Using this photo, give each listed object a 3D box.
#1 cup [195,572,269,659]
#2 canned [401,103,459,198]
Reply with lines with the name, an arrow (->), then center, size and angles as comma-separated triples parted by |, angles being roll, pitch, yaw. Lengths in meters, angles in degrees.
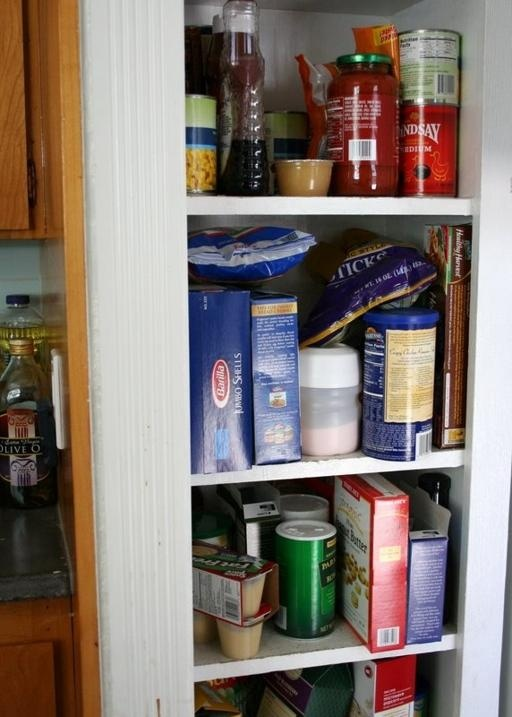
cup -> -0.032, 0.335, 0.900 | 0.067, 0.098, 0.115 | 2, -6, -37
canned -> 0.234, -0.288, 0.935 | 0.085, 0.122, 0.080 | -6, 16, -6
